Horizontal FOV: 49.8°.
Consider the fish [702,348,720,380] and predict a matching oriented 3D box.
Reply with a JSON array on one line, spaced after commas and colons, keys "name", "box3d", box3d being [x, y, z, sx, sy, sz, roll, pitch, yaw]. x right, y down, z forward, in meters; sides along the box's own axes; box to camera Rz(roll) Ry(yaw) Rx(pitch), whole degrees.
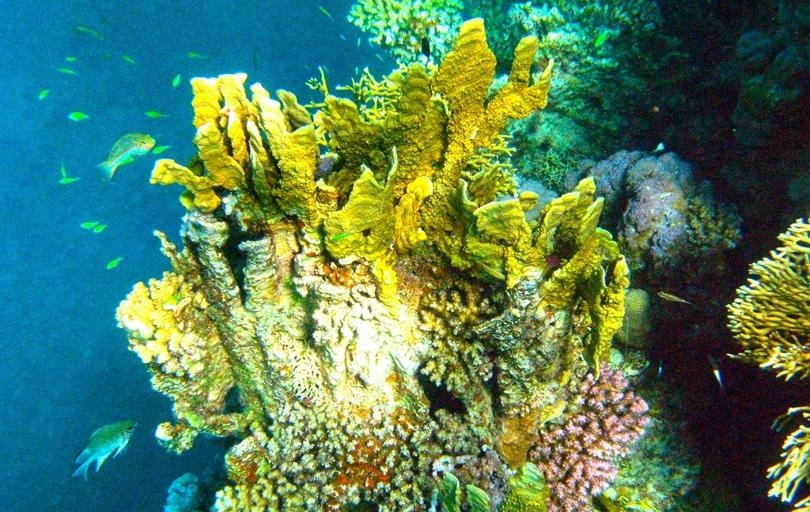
[{"name": "fish", "box3d": [5.072, 1.772, 14.361, 0.112, 0.496, 0.119, -27, -50, 34]}]

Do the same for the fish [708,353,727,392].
[{"name": "fish", "box3d": [5.134, 1.890, 14.320, 0.179, 0.513, 0.137, -10, -8, -25]}]

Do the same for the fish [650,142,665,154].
[{"name": "fish", "box3d": [4.741, -2.002, 16.263, 0.282, 0.146, 0.115, -43, -21, -28]}]
